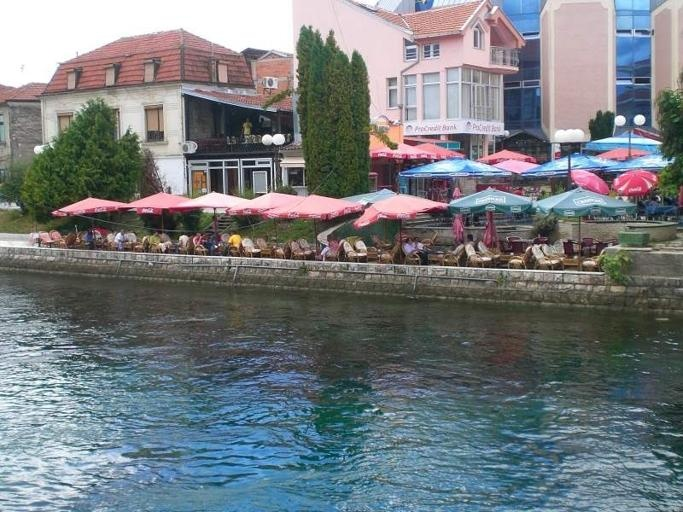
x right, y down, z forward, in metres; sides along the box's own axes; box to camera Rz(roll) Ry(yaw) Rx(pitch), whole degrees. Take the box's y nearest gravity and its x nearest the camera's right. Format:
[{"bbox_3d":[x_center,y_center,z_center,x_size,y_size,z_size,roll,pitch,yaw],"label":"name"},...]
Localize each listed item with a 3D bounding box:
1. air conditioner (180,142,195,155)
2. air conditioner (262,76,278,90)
[{"bbox_3d":[-9.262,-6.613,65.088,0.620,0.575,0.796,-2,10,-4],"label":"air conditioner"},{"bbox_3d":[-4.211,-10.295,62.855,0.823,0.839,1.253,1,11,5],"label":"air conditioner"}]
